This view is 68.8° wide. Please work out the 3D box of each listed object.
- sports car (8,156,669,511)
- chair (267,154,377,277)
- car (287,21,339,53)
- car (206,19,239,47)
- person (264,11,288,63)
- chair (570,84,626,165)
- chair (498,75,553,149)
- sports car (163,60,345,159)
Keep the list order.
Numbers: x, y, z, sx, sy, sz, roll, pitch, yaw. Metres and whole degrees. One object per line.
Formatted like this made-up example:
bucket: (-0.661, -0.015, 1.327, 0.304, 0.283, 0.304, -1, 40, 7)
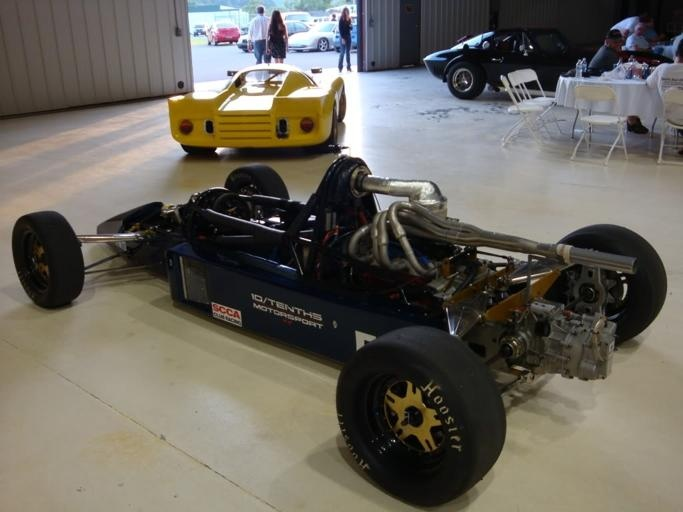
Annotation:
sports car: (-0.331, 0.127, 3.203, 3.657, 1.355, 2.091, 16, 24, 34)
chair: (-0.039, -0.275, 3.107, 0.471, 0.295, 0.805, -2, 32, 39)
car: (-1.215, -9.658, 22.178, 2.285, 0.779, 1.122, -29, 40, -35)
car: (-6.697, -12.530, 28.289, 1.779, 1.153, 0.957, -3, 26, -4)
person: (-1.555, -5.196, 11.904, 0.443, 1.172, 0.599, -5, 26, -8)
chair: (3.587, -1.841, 6.862, 0.723, 1.029, 0.789, 4, 20, 22)
chair: (2.966, -2.333, 7.996, 0.670, 1.013, 0.718, 17, 29, 36)
sports car: (-1.242, -2.157, 7.429, 2.331, 1.237, 1.472, 1, 26, 4)
